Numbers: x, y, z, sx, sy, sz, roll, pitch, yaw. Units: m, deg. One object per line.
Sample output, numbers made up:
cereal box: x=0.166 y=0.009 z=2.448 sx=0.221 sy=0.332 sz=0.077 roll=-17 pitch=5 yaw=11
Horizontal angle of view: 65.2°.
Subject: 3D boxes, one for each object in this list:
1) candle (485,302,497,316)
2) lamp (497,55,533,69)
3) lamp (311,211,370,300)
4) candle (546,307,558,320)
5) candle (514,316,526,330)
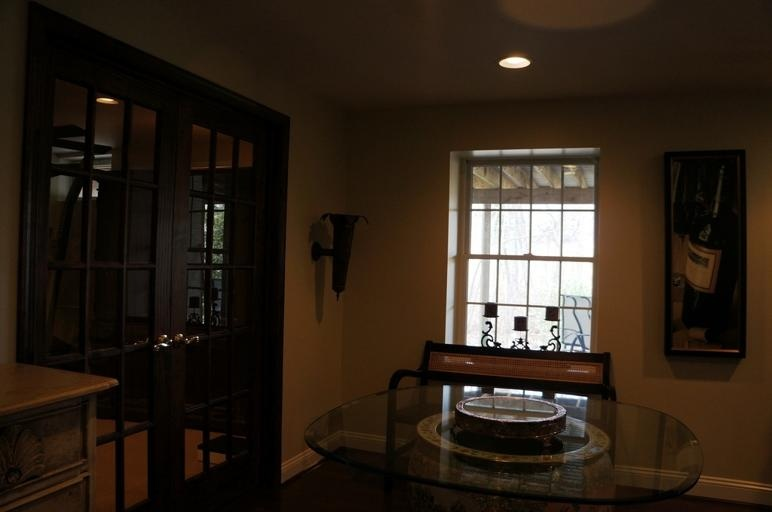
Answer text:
candle: x=0.853 y=0.434 z=4.955 sx=0.098 sy=0.097 sz=0.110 roll=1 pitch=0 yaw=-18
lamp: x=0.913 y=-1.376 z=4.279 sx=0.226 sy=0.059 sz=0.203 roll=3 pitch=9 yaw=11
lamp: x=-0.407 y=-0.028 z=5.150 sx=0.372 sy=0.666 sz=0.369 roll=3 pitch=8 yaw=10
candle: x=1.318 y=0.458 z=4.822 sx=0.094 sy=0.095 sz=0.105 roll=0 pitch=1 yaw=-21
candle: x=1.078 y=0.538 z=4.845 sx=0.094 sy=0.092 sz=0.104 roll=2 pitch=-1 yaw=-29
